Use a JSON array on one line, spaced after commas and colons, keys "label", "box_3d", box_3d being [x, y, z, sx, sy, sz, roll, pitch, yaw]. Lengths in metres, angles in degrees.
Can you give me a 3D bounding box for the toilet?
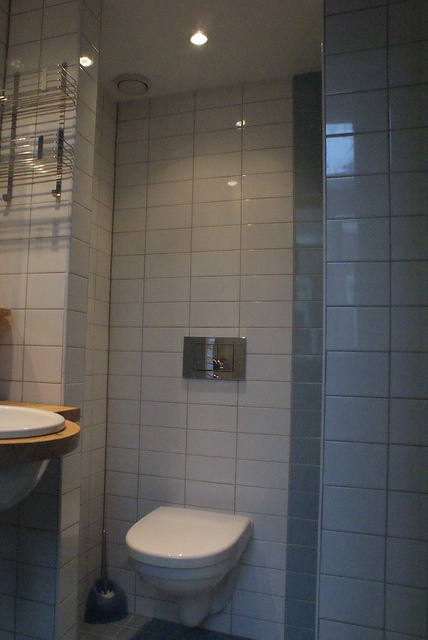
[{"label": "toilet", "box_3d": [-0.089, 1.049, 2.174, 0.443, 0.499, 0.597, 0, -3, 8]}]
